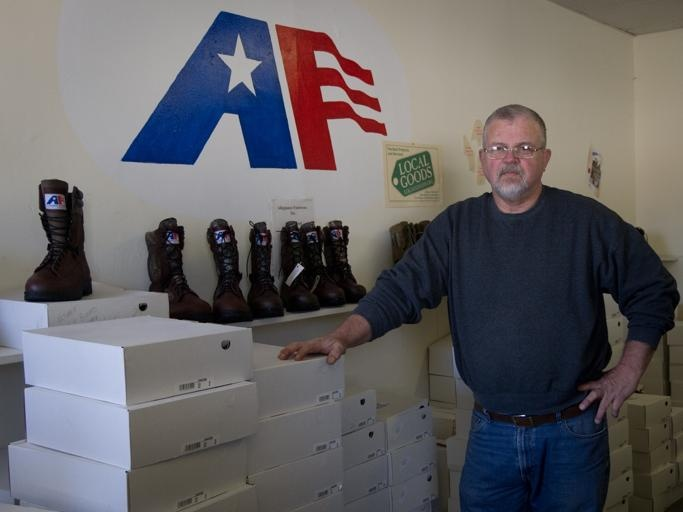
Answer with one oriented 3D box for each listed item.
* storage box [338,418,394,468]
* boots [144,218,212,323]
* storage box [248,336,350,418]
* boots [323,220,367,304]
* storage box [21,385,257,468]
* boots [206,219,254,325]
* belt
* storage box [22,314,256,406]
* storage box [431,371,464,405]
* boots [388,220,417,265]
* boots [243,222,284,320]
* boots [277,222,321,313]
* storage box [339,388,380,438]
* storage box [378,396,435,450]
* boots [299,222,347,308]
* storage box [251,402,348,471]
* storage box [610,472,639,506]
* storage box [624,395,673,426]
[{"bbox_3d":[0.091,0.747,2.162,0.125,0.118,0.174,-7,-5,39],"label":"storage box"},{"bbox_3d":[-0.624,0.063,2.003,0.147,0.300,0.379,-8,21,-45],"label":"boots"},{"bbox_3d":[-0.169,0.335,1.583,0.160,0.113,0.236,-1,-1,39],"label":"storage box"},{"bbox_3d":[0.004,0.013,2.522,0.124,0.281,0.372,-9,27,-28],"label":"boots"},{"bbox_3d":[-0.513,0.408,1.277,0.249,0.094,0.275,1,-1,31],"label":"storage box"},{"bbox_3d":[-0.460,0.073,2.115,0.133,0.292,0.435,-5,22,-12],"label":"boots"},{"bbox_3d":[0.622,0.520,1.727,0.298,0.083,0.052,1,5,16],"label":"belt"},{"bbox_3d":[-0.536,0.249,1.286,0.259,0.093,0.300,3,2,32],"label":"storage box"},{"bbox_3d":[0.562,0.731,2.971,0.225,0.135,0.237,2,4,37],"label":"storage box"},{"bbox_3d":[0.316,-0.066,2.850,0.093,0.214,0.141,-2,-2,11],"label":"boots"},{"bbox_3d":[-0.325,0.061,2.213,0.148,0.361,0.364,-3,18,-15],"label":"boots"},{"bbox_3d":[-0.187,0.039,2.322,0.146,0.331,0.388,-5,16,-11],"label":"boots"},{"bbox_3d":[0.074,0.638,2.145,0.132,0.095,0.138,-4,-4,40],"label":"storage box"},{"bbox_3d":[0.285,0.743,2.353,0.174,0.067,0.189,-6,-4,42],"label":"storage box"},{"bbox_3d":[-0.102,0.027,2.397,0.148,0.321,0.432,-10,17,-18],"label":"boots"},{"bbox_3d":[-0.135,0.539,1.567,0.218,0.097,0.147,1,-4,-45],"label":"storage box"},{"bbox_3d":[1.485,1.251,2.826,0.135,0.149,0.200,-4,-3,44],"label":"storage box"},{"bbox_3d":[1.748,0.887,3.042,0.184,0.052,0.194,-4,2,-40],"label":"storage box"}]
